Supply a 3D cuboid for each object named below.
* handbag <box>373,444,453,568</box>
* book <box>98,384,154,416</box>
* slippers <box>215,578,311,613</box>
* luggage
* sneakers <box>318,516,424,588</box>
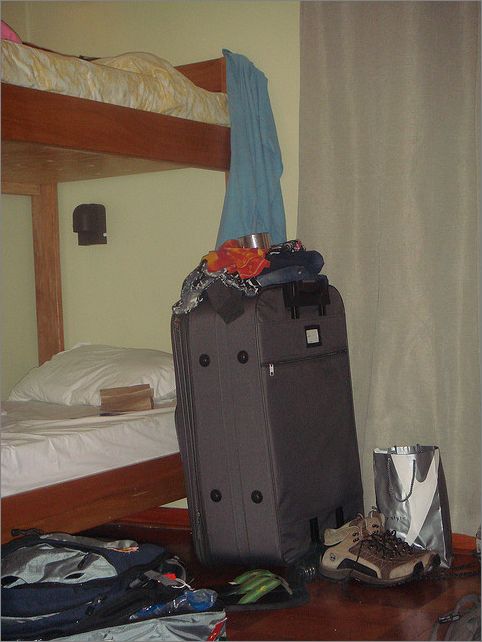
[{"bbox_3d":[0.487,0.538,1.835,0.252,0.350,0.213,-8,-12,-3],"label":"handbag"},{"bbox_3d":[-0.380,0.255,2.119,0.171,0.092,0.082,-1,-1,-9],"label":"book"},{"bbox_3d":[0.051,0.673,1.629,0.195,0.020,0.116,0,3,3],"label":"slippers"},{"bbox_3d":[0.119,0.222,1.910,0.578,0.920,0.362,-7,7,-35],"label":"luggage"},{"bbox_3d":[0.358,0.623,1.771,0.262,0.128,0.134,-2,4,23],"label":"sneakers"}]
